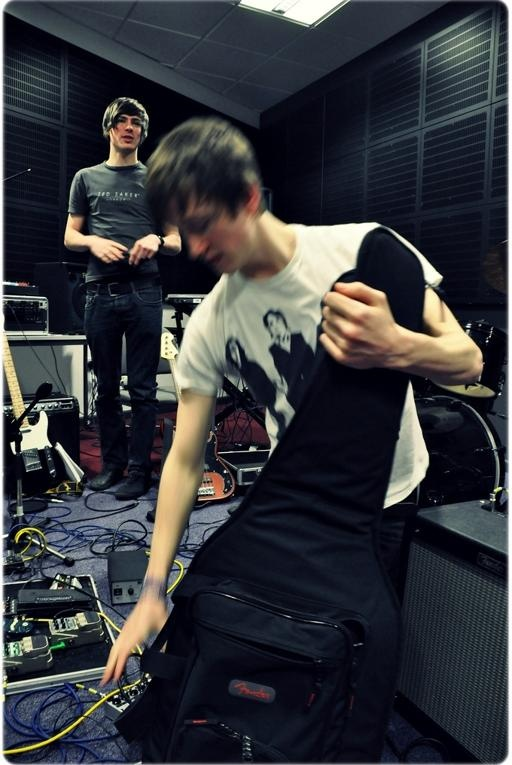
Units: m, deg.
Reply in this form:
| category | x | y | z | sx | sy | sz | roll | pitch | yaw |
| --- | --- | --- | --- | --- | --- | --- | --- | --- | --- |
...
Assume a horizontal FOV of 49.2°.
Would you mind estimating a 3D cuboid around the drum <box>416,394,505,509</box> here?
| category | x | y | z | sx | sy | sz | roll | pitch | yaw |
| --- | --- | --- | --- | --- | --- | --- | --- | --- | --- |
| drum | 0.793 | 0.278 | 2.184 | 0.289 | 0.422 | 0.408 | -6 | 8 | -30 |

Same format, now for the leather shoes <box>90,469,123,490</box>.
| category | x | y | z | sx | sy | sz | roll | pitch | yaw |
| --- | --- | --- | --- | --- | --- | --- | --- | --- | --- |
| leather shoes | -0.726 | 0.471 | 2.697 | 0.066 | 0.130 | 0.188 | 6 | -6 | 29 |

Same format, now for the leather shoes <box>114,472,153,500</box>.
| category | x | y | z | sx | sy | sz | roll | pitch | yaw |
| --- | --- | --- | --- | --- | --- | --- | --- | --- | --- |
| leather shoes | -0.573 | 0.485 | 2.610 | 0.077 | 0.086 | 0.216 | -1 | -2 | 12 |

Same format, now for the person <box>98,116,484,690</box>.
| category | x | y | z | sx | sy | sz | roll | pitch | yaw |
| --- | --- | --- | --- | --- | --- | --- | --- | --- | --- |
| person | 0.060 | 0.029 | 0.993 | 0.579 | 0.893 | 0.303 | 2 | 7 | -4 |

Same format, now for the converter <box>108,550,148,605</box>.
| category | x | y | z | sx | sy | sz | roll | pitch | yaw |
| --- | --- | --- | --- | --- | --- | --- | --- | --- | --- |
| converter | -0.400 | 0.620 | 1.795 | 0.117 | 0.091 | 0.192 | -2 | 12 | -13 |

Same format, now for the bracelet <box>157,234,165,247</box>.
| category | x | y | z | sx | sy | sz | roll | pitch | yaw |
| --- | --- | --- | --- | --- | --- | --- | --- | --- | --- |
| bracelet | -0.422 | -0.629 | 2.482 | 0.036 | 0.057 | 0.051 | 2 | -3 | -20 |
